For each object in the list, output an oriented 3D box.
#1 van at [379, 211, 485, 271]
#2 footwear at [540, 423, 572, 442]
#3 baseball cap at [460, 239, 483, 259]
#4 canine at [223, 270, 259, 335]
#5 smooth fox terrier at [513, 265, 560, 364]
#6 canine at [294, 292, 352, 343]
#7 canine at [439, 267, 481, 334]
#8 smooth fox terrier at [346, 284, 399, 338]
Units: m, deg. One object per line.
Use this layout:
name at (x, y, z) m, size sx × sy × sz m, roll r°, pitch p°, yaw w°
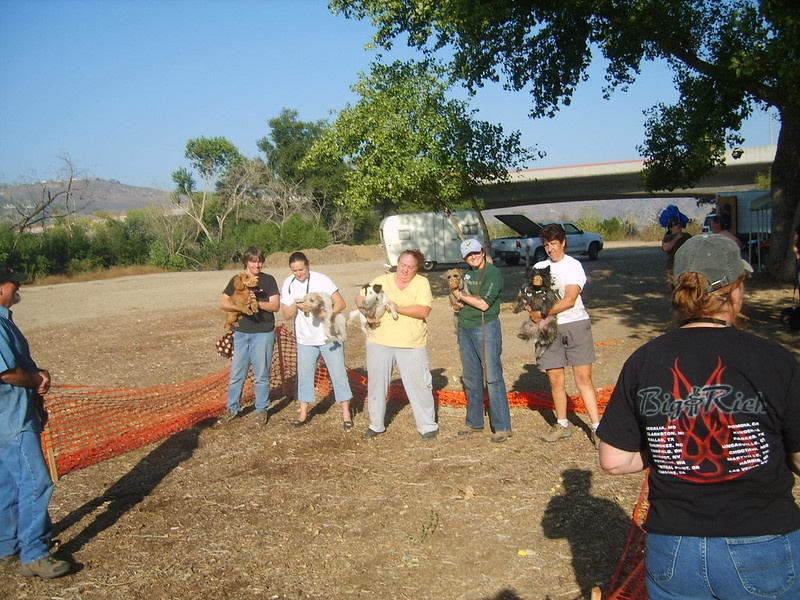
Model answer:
van at (1.181, -3.399, 28.735) m, size 2.476 × 3.214 × 6.332 m, roll 1°, pitch 1°, yaw 44°
footwear at (1.782, 1.506, 6.868) m, size 0.402 × 0.194 × 0.154 m, roll -6°, pitch 6°, yaw -3°
baseball cap at (0.818, -0.586, 6.832) m, size 0.220 × 0.214 × 0.385 m, roll -1°, pitch 11°, yaw 3°
canine at (-1.961, 0.068, 7.502) m, size 0.578 × 0.765 × 0.321 m, roll 5°, pitch 12°, yaw 33°
smooth fox terrier at (1.515, 0.151, 6.662) m, size 0.377 × 1.073 × 0.379 m, roll -4°, pitch 5°, yaw 15°
canine at (-0.931, 0.235, 7.144) m, size 0.538 × 0.631 × 0.181 m, roll -4°, pitch 11°, yaw -14°
canine at (0.660, 0.061, 6.969) m, size 0.360 × 0.839 × 0.372 m, roll 0°, pitch 7°, yaw 0°
smooth fox terrier at (-0.282, 0.013, 6.943) m, size 0.444 × 0.485 × 0.782 m, roll -10°, pitch 12°, yaw -6°
